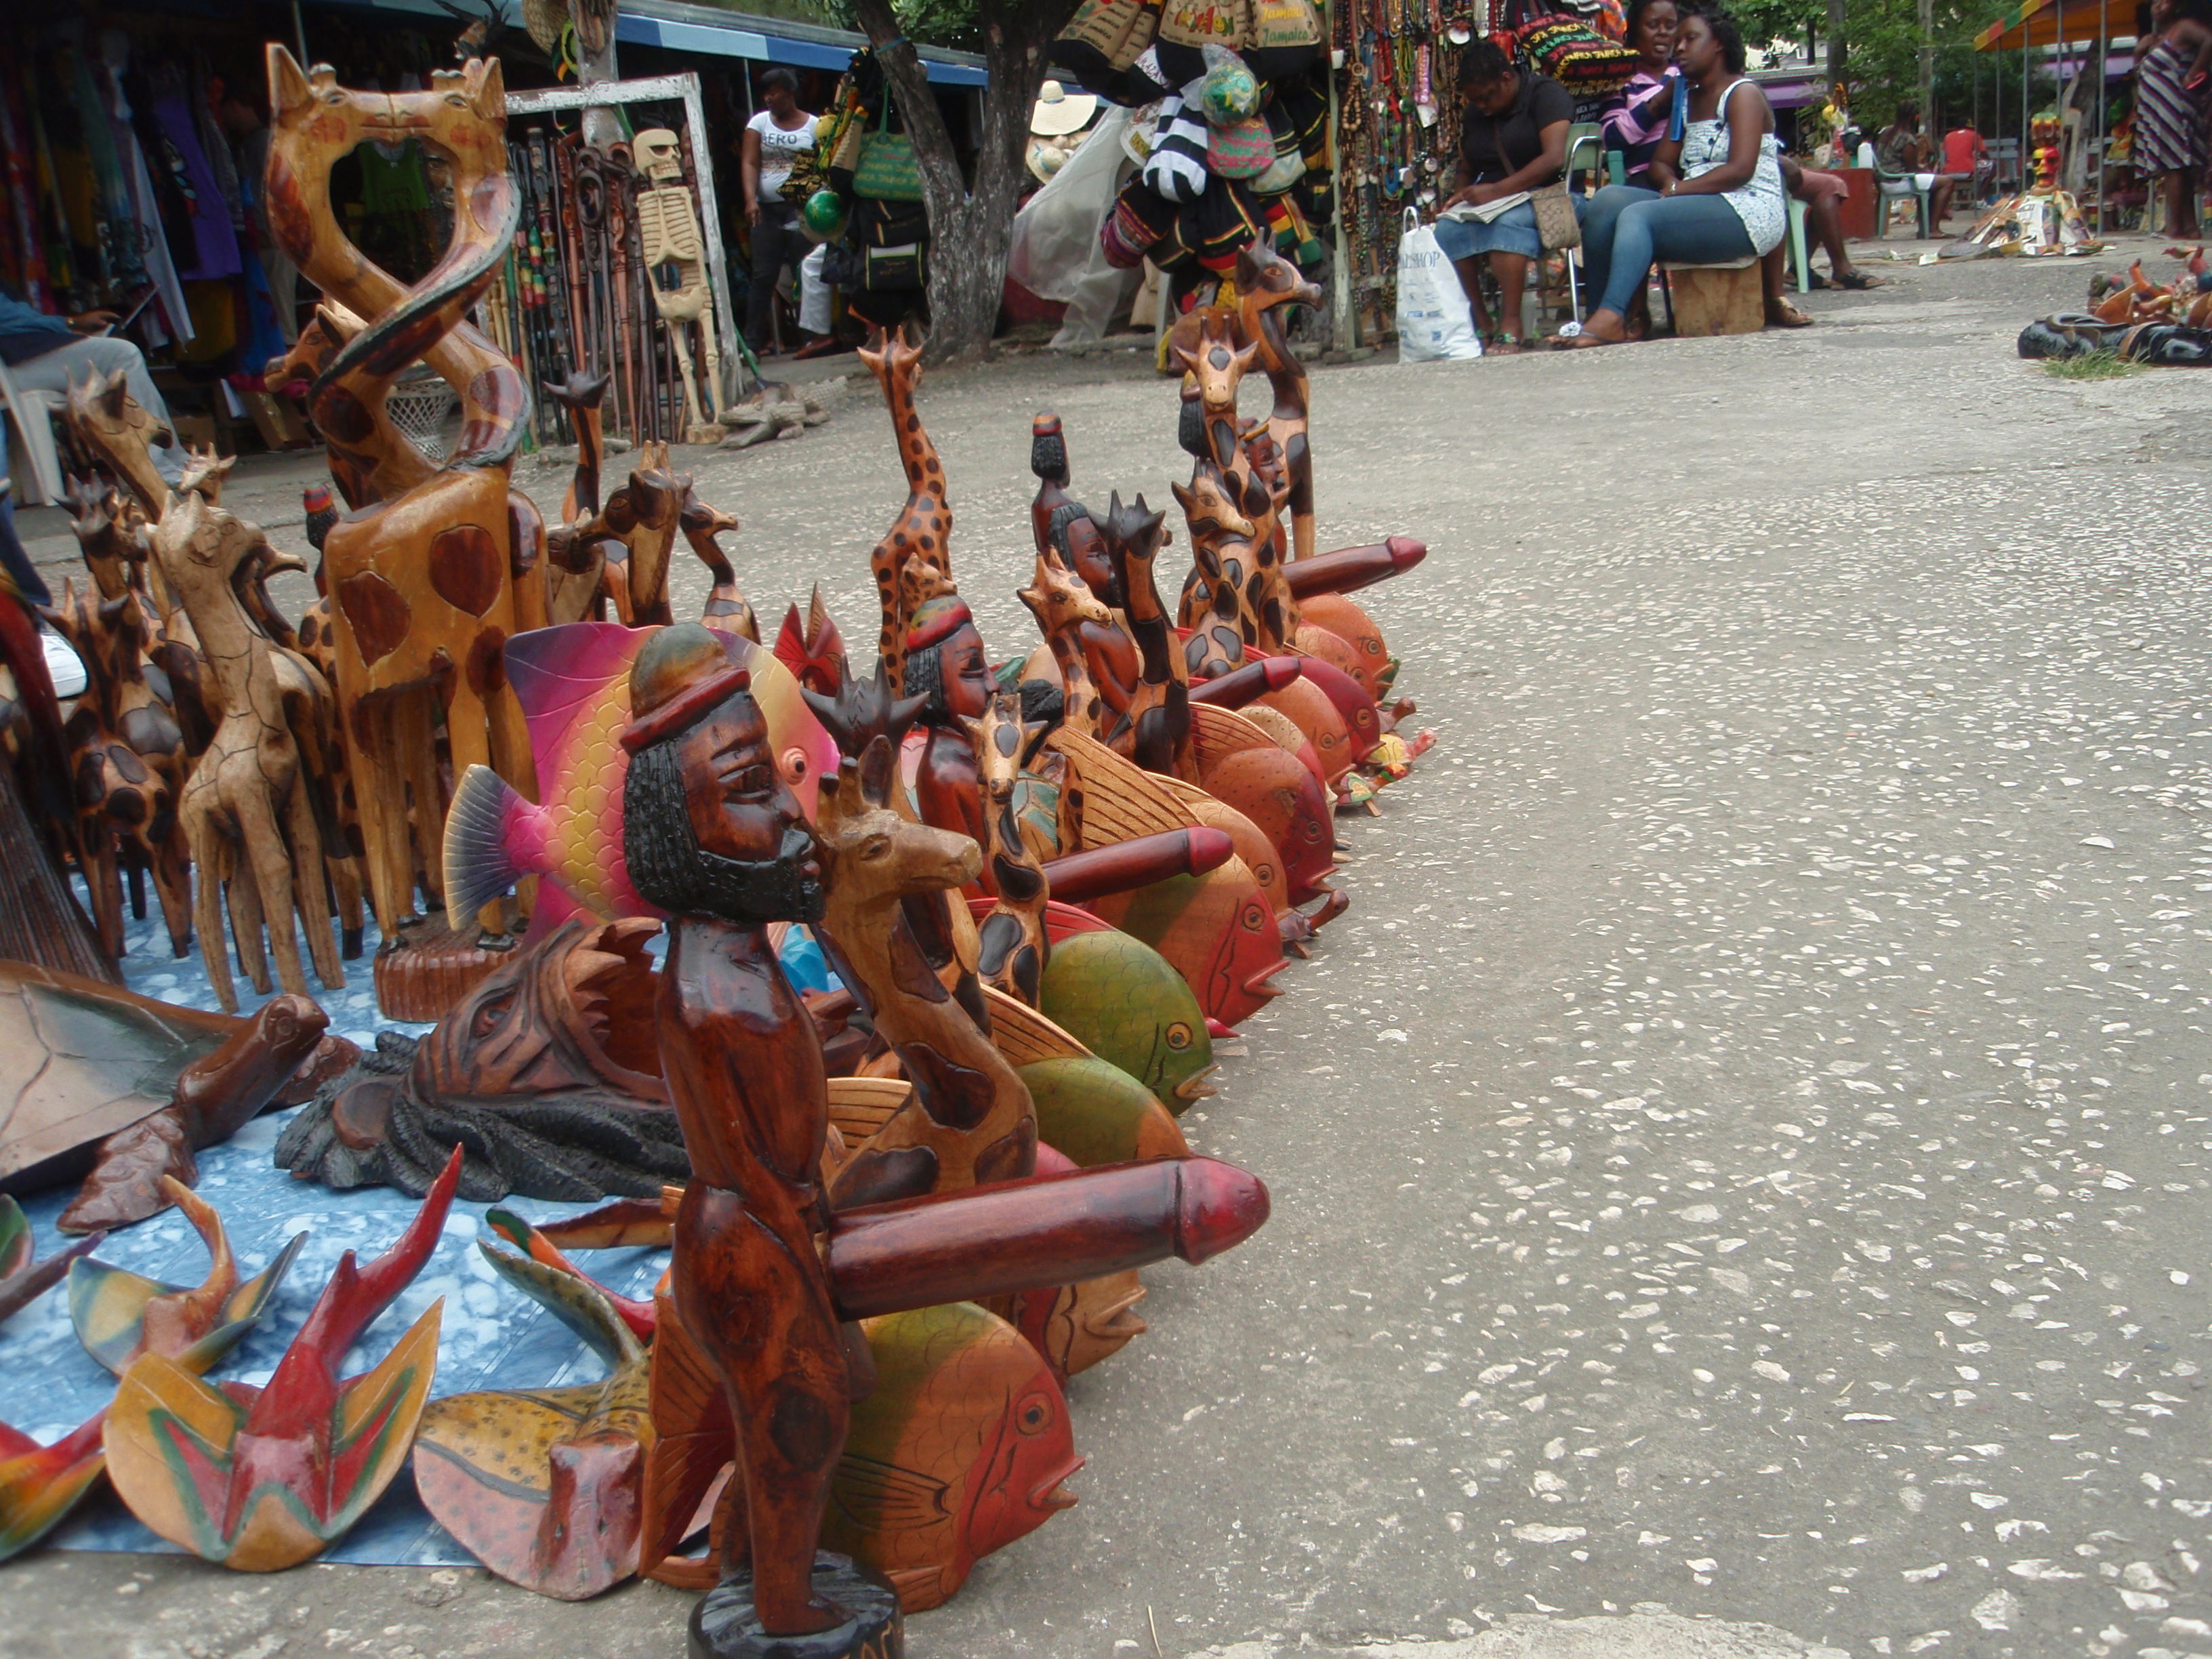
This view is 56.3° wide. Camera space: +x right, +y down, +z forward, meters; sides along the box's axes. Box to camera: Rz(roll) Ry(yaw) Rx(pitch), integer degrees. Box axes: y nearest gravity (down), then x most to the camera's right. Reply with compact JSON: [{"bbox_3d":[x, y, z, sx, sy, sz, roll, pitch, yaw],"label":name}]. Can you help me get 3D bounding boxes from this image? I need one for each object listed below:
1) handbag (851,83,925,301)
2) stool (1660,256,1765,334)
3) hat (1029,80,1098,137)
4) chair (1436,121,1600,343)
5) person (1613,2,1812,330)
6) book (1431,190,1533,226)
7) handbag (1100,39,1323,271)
[{"bbox_3d":[-1.739,-5.050,16.816,0.466,1.523,0.992,6,11,18],"label":"handbag"},{"bbox_3d":[3.740,-3.290,12.787,0.448,0.389,0.484,3,23,18],"label":"stool"},{"bbox_3d":[-0.365,-6.106,17.496,0.489,0.515,0.837,-6,14,0],"label":"hat"},{"bbox_3d":[2.437,-3.860,12.705,0.922,1.827,0.709,-11,9,-39],"label":"chair"},{"bbox_3d":[3.539,-3.888,12.283,1.384,1.896,0.884,-15,17,-33],"label":"person"},{"bbox_3d":[2.262,-3.725,12.422,0.565,0.158,0.218,-2,15,18],"label":"book"},{"bbox_3d":[0.492,-3.702,11.332,0.984,1.249,0.768,2,15,26],"label":"handbag"}]
